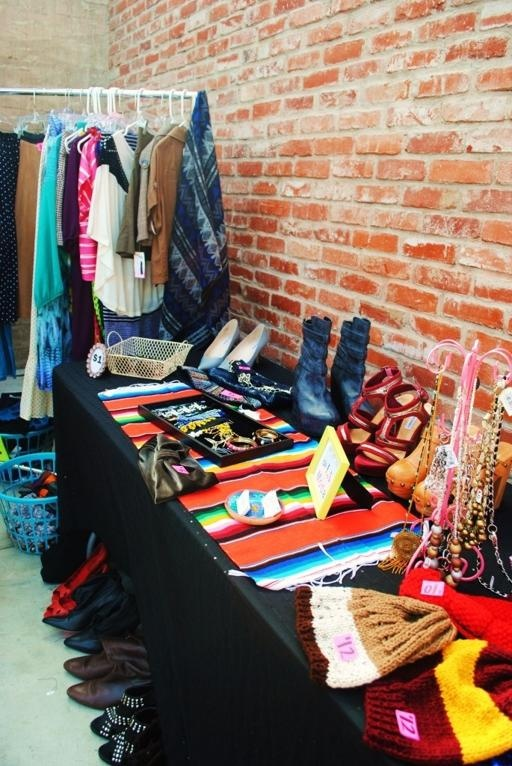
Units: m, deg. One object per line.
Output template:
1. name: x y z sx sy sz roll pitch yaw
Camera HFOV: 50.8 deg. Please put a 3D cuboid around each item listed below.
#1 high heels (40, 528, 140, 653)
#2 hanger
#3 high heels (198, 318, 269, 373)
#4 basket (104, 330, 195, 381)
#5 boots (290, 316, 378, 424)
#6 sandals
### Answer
1. high heels: -0.432 0.560 1.496 0.209 0.273 0.216 -5 23 -33
2. hanger: -0.601 -1.013 2.072 0.981 0.247 0.063 3 13 4
3. high heels: -0.088 -0.101 1.640 0.188 0.185 0.165 -17 28 -42
4. basket: -0.308 -0.097 1.637 0.261 0.141 0.228 16 22 36
5. boots: 0.170 -0.011 1.245 0.160 0.257 0.157 -9 22 -29
6. sandals: 0.271 0.057 1.103 0.110 0.119 0.300 13 30 23
